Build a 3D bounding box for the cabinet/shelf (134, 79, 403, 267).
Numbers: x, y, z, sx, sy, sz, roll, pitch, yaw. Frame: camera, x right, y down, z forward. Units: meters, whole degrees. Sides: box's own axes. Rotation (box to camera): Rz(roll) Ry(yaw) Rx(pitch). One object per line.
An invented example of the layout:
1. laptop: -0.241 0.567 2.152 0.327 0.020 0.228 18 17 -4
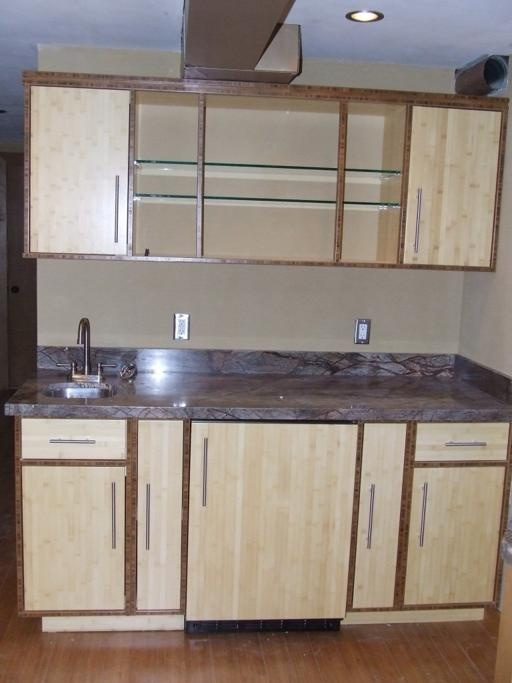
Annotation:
1. cabinet/shelf: 0.057 -0.716 3.235 1.231 0.742 0.216 1 9 -6
